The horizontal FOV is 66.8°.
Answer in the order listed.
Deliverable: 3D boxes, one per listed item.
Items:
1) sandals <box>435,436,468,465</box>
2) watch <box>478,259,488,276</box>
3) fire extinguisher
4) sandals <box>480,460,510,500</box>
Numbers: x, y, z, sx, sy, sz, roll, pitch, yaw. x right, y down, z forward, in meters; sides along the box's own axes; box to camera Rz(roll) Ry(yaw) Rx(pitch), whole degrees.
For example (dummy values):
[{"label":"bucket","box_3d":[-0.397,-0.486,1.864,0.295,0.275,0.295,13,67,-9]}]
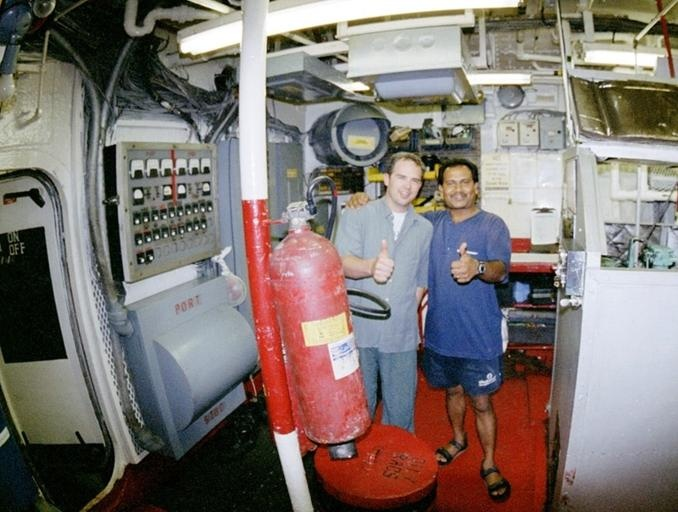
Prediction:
[{"label":"sandals","box_3d":[0.910,1.588,4.237,0.346,0.127,0.125,-21,11,-35]},{"label":"watch","box_3d":[0.963,0.074,3.476,0.062,0.096,0.091,1,-8,0]},{"label":"fire extinguisher","box_3d":[-0.090,0.459,2.637,0.482,1.112,0.189,-2,8,0]},{"label":"sandals","box_3d":[1.204,1.725,3.911,0.174,0.108,0.318,-25,9,5]}]
